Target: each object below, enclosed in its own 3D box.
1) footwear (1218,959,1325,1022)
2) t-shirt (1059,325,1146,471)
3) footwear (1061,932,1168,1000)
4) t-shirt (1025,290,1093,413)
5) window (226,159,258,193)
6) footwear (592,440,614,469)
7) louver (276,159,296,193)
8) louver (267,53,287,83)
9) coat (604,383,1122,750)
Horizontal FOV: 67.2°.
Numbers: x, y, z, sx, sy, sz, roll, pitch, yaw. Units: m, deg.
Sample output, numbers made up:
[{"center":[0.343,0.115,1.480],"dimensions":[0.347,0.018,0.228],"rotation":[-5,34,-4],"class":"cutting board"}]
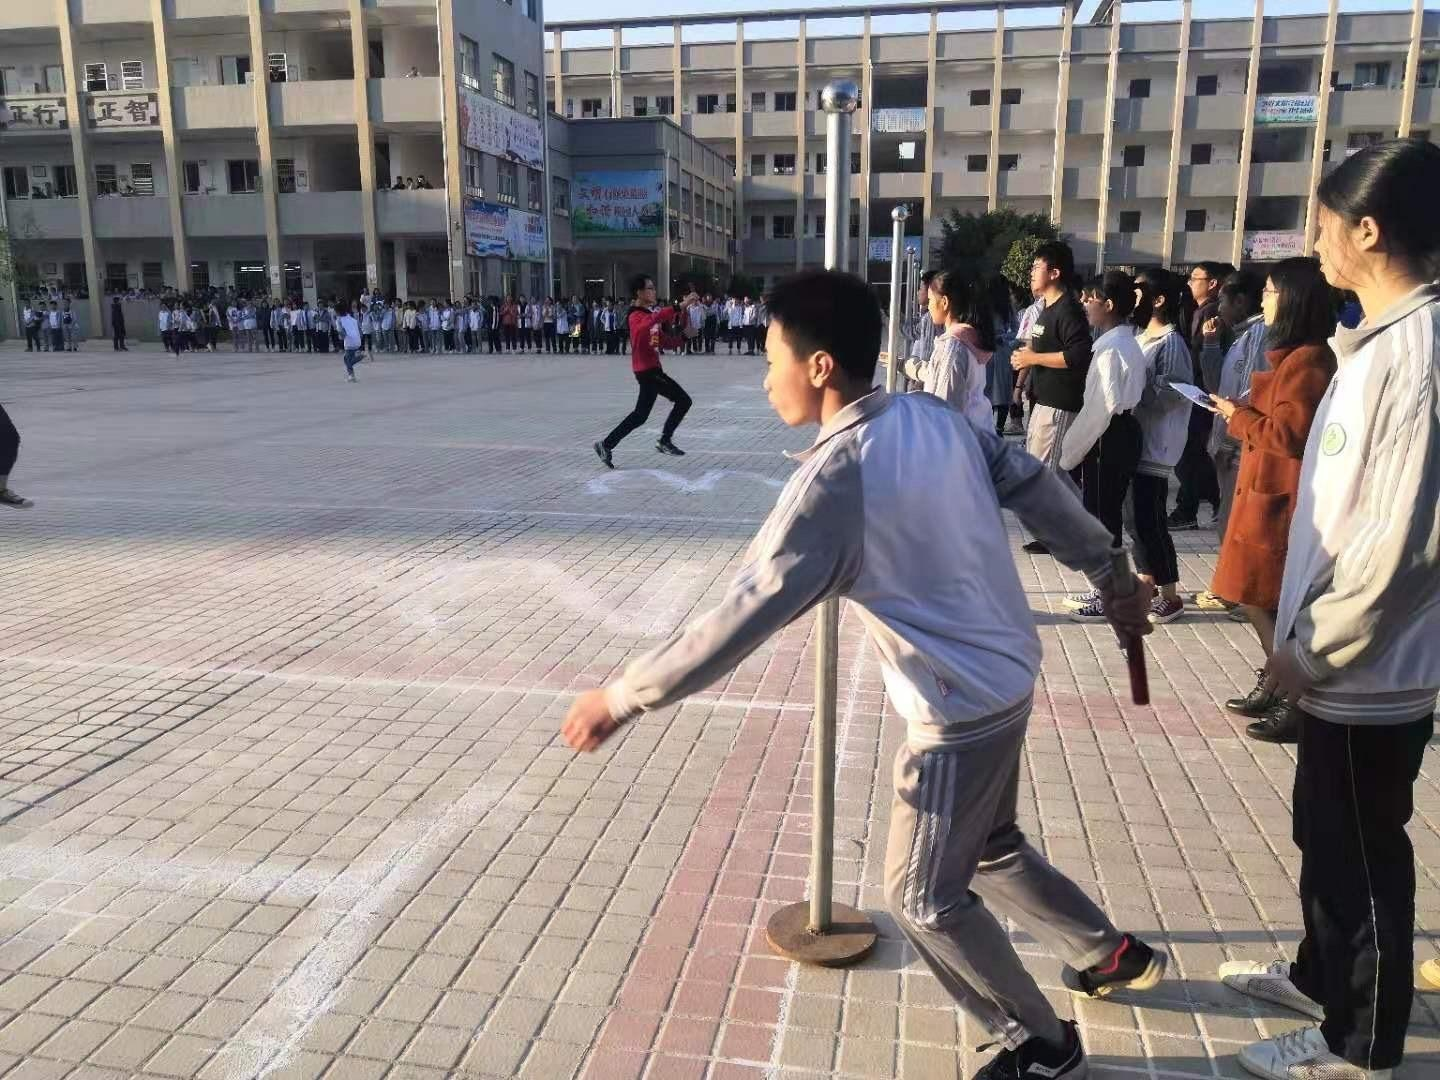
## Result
[{"center":[1.507,1.228,2.988],"dimensions":[0.256,0.097,0.089],"rotation":[10,16,37],"class":"footwear"},{"center":[2.173,-0.857,6.067],"dimensions":[0.365,0.719,0.824],"rotation":[9,26,29],"class":"t-shirt"},{"center":[1.055,1.140,2.992],"dimensions":[0.360,0.170,0.157],"rotation":[-24,31,48],"class":"footwear"},{"center":[2.026,-1.113,6.506],"dimensions":[0.312,0.664,0.536],"rotation":[8,14,27],"class":"t-shirt"},{"center":[-16.699,-12.794,38.022],"dimensions":[1.271,1.381,0.094],"rotation":[-1,5,-3],"class":"window"},{"center":[-1.124,-0.805,10.512],"dimensions":[0.171,0.393,0.129],"rotation":[-4,38,12],"class":"footwear"},{"center":[-14.934,-12.633,37.552],"dimensions":[0.662,1.039,0.286],"rotation":[1,15,3],"class":"louver"},{"center":[-15.026,-16.073,36.905],"dimensions":[0.609,0.939,0.527],"rotation":[-2,15,-11],"class":"louver"},{"center":[0.280,0.052,2.456],"dimensions":[0.910,0.734,0.289],"rotation":[-1,15,-6],"class":"coat"}]
